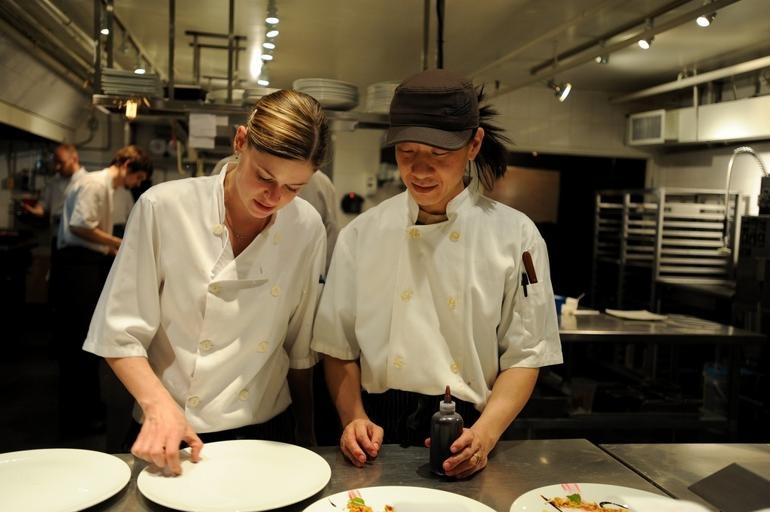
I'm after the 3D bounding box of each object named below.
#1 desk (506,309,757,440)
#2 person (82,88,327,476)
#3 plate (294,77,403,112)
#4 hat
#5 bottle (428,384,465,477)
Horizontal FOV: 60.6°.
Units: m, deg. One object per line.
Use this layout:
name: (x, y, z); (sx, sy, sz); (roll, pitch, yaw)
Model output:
desk: (1.672, 0.751, 4.282); (0.992, 0.935, 1.004); (0, 8, 2)
person: (-0.696, 0.105, 2.794); (0.997, 1.623, 0.441); (0, 8, -25)
plate: (-0.230, -0.979, 3.989); (0.427, 0.109, 0.308); (-1, 3, -27)
hat: (0.213, -0.631, 2.841); (0.396, 0.346, 0.203); (4, 7, 6)
bottle: (0.252, 0.714, 2.704); (0.136, 0.374, 0.102); (4, 7, 9)
